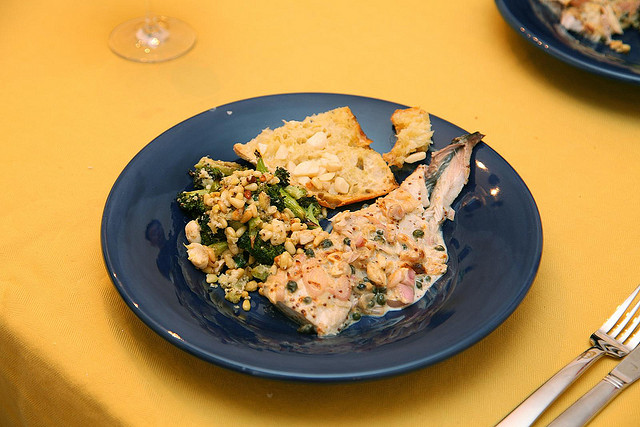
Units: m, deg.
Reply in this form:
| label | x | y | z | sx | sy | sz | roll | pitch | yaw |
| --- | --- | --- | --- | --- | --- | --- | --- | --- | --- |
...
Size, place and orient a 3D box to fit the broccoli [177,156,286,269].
| label | x | y | z | sx | sy | sz | roll | pitch | yaw |
| --- | --- | --- | --- | --- | --- | --- | --- | --- | --- |
| broccoli | -0.533 | -0.036 | 3.372 | 0.555 | 0.152 | 0.597 | 11 | 58 | -30 |

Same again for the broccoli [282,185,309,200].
| label | x | y | z | sx | sy | sz | roll | pitch | yaw |
| --- | --- | --- | --- | --- | --- | --- | --- | --- | --- |
| broccoli | -0.138 | -0.139 | 3.534 | 0.120 | 0.047 | 0.078 | 20 | 39 | 4 |

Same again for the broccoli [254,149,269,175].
| label | x | y | z | sx | sy | sz | roll | pitch | yaw |
| --- | --- | --- | --- | --- | --- | --- | --- | --- | --- |
| broccoli | -0.350 | -0.305 | 3.563 | 0.042 | 0.050 | 0.164 | -4 | 66 | -41 |

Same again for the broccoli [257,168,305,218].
| label | x | y | z | sx | sy | sz | roll | pitch | yaw |
| --- | --- | --- | --- | --- | --- | --- | --- | --- | --- |
| broccoli | -0.237 | -0.129 | 3.447 | 0.209 | 0.129 | 0.294 | -1 | 60 | -23 |

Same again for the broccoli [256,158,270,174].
| label | x | y | z | sx | sy | sz | roll | pitch | yaw |
| --- | --- | --- | --- | --- | --- | --- | --- | --- | --- |
| broccoli | -0.343 | -0.284 | 3.529 | 0.074 | 0.075 | 0.084 | -18 | 104 | -27 |

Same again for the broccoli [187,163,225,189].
| label | x | y | z | sx | sy | sz | roll | pitch | yaw |
| --- | --- | --- | --- | --- | --- | --- | --- | --- | --- |
| broccoli | -0.647 | -0.225 | 3.424 | 0.155 | 0.055 | 0.146 | -20 | 62 | -22 |

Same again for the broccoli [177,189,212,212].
| label | x | y | z | sx | sy | sz | roll | pitch | yaw |
| --- | --- | --- | --- | --- | --- | --- | --- | --- | --- |
| broccoli | -0.694 | -0.076 | 3.361 | 0.151 | 0.059 | 0.116 | 4 | 64 | 5 |

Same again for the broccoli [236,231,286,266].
| label | x | y | z | sx | sy | sz | roll | pitch | yaw |
| --- | --- | --- | --- | --- | --- | --- | --- | --- | --- |
| broccoli | -0.332 | 0.178 | 3.311 | 0.225 | 0.090 | 0.177 | 42 | 96 | 4 |
